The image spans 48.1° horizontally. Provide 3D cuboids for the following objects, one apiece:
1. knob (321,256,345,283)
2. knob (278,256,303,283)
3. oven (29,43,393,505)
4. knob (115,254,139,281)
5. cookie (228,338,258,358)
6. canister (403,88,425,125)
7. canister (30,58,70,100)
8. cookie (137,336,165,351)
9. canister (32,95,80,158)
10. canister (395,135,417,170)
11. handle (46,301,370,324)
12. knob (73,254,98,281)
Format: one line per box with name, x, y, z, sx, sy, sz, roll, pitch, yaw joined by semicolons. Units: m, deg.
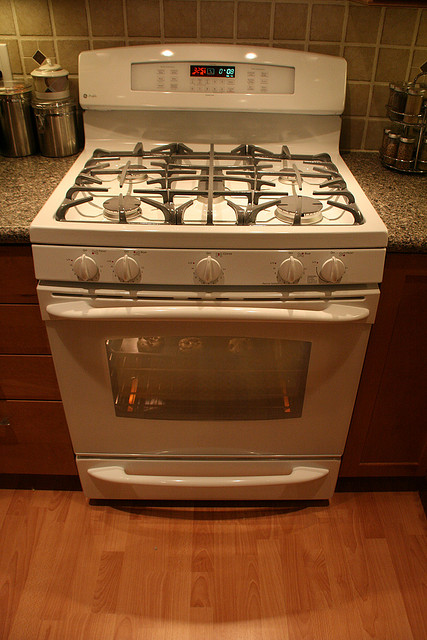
knob;0.216;-0.094;0.871;0.040;0.057;0.017;-7;50;3
knob;0.138;-0.094;0.864;0.045;0.054;0.014;-3;44;1
oven;-0.013;-0.039;1.216;0.636;1.093;0.577;1;36;0
knob;-0.156;-0.092;0.855;0.033;0.046;0.012;5;13;-4
cookie;0.062;0.062;1.020;0.064;0.051;0.004;-2;34;-4
canister;0.470;-0.504;1.130;0.037;0.081;0.022;22;39;28
canister;-0.411;-0.612;1.206;0.091;0.092;0.094;26;40;29
cookie;-0.136;0.051;1.026;0.035;0.041;0.015;8;60;-12
canister;-0.394;-0.488;1.234;0.108;0.148;0.126;2;36;2
canister;0.473;-0.415;1.185;0.040;0.079;0.028;20;38;25
handle;-0.010;-0.006;0.914;0.632;0.058;0.054;1;35;-1
knob;-0.231;-0.095;0.860;0.032;0.046;0.023;4;20;-5
